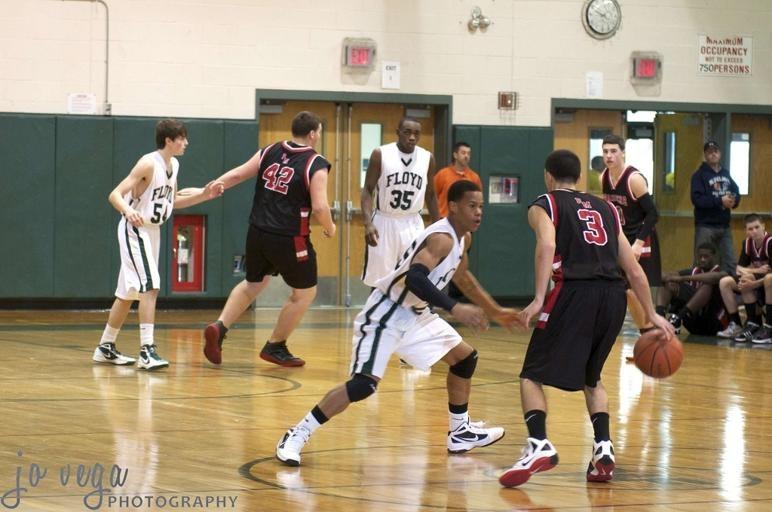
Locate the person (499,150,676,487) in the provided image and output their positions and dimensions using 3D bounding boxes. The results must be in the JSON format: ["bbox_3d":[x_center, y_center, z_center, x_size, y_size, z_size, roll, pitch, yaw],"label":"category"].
[{"bbox_3d":[1.446,0.412,6.533,0.900,2.303,0.670,2,6,8],"label":"person"}]

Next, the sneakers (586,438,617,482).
[{"bbox_3d":[1.539,1.436,6.417,0.200,0.305,0.181,1,6,3],"label":"sneakers"}]

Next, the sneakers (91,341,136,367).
[{"bbox_3d":[-2.712,0.981,9.244,0.526,0.276,0.192,5,0,5],"label":"sneakers"}]

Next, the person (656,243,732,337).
[{"bbox_3d":[3.918,0.436,11.346,1.061,1.201,0.781,13,-9,-33],"label":"person"}]

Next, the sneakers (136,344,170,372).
[{"bbox_3d":[-2.325,1.005,9.031,0.168,0.243,0.402,3,-3,-41],"label":"sneakers"}]

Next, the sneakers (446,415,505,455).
[{"bbox_3d":[0.671,1.383,7.066,0.535,0.274,0.189,-8,9,-19],"label":"sneakers"}]

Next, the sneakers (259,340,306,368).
[{"bbox_3d":[-1.079,1.017,9.407,0.523,0.311,0.208,12,-2,2],"label":"sneakers"}]

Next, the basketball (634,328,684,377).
[{"bbox_3d":[2.036,0.744,6.704,0.315,0.366,0.334,8,-9,-13],"label":"basketball"}]

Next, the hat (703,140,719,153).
[{"bbox_3d":[4.576,-1.499,12.721,0.177,0.102,0.263,-8,-7,5],"label":"hat"}]

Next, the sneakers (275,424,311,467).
[{"bbox_3d":[-0.676,1.364,6.643,0.264,0.273,0.218,-4,8,-37],"label":"sneakers"}]
